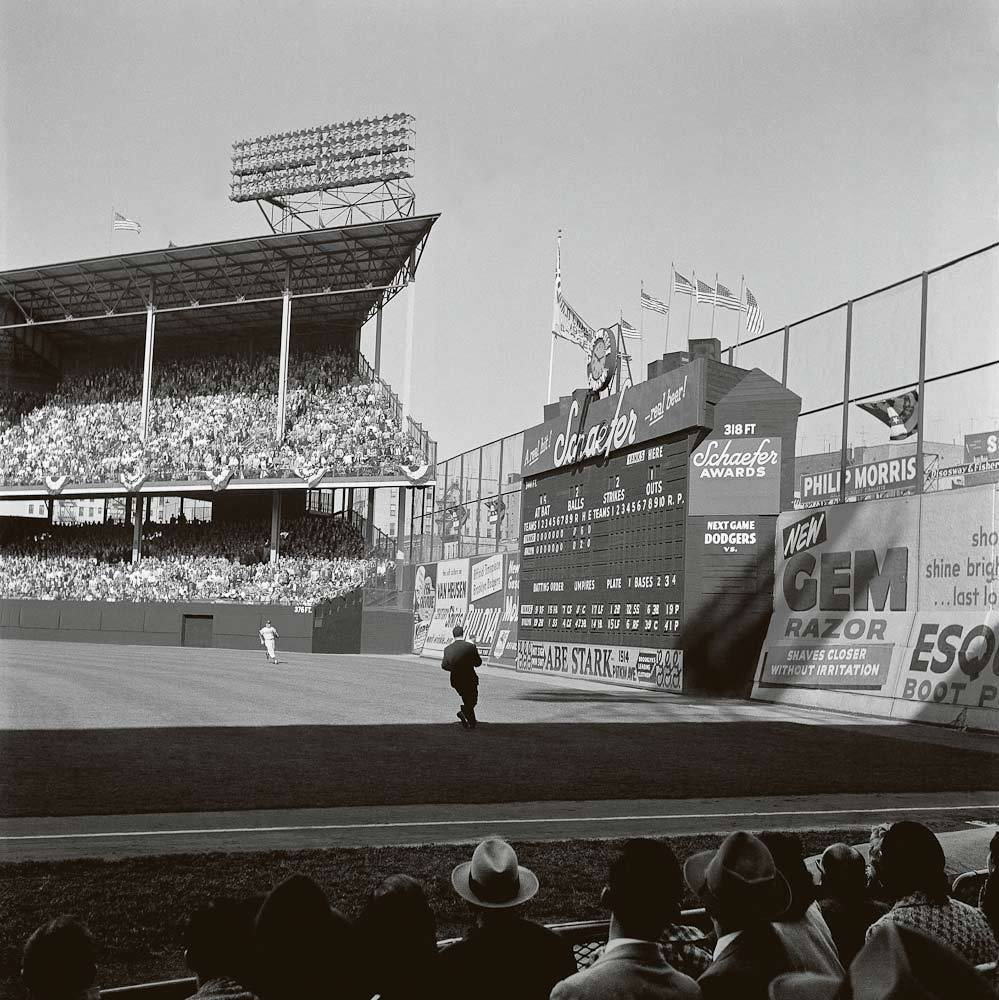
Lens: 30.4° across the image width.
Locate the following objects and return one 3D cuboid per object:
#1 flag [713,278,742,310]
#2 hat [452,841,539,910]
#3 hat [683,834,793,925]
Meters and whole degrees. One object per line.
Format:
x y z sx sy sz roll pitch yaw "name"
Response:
3.815 -3.462 30.798 0.435 0.568 0.729 -6 6 8 "flag"
-0.029 2.159 10.301 0.557 0.285 0.783 1 9 -1 "hat"
1.253 2.032 9.574 0.403 0.529 0.187 2 -20 -23 "hat"
